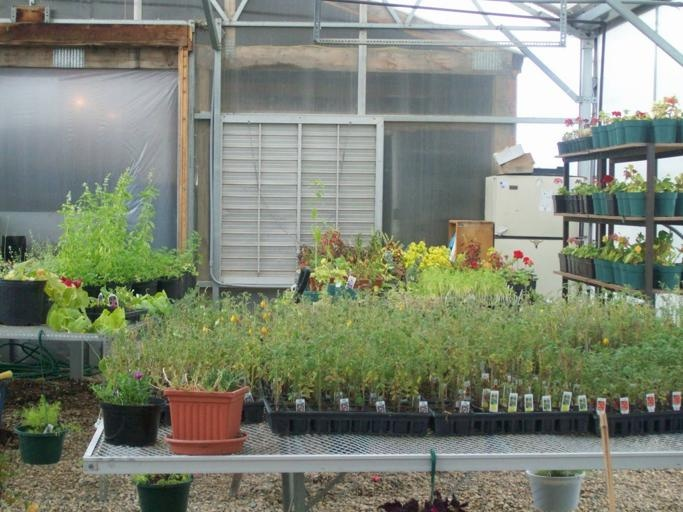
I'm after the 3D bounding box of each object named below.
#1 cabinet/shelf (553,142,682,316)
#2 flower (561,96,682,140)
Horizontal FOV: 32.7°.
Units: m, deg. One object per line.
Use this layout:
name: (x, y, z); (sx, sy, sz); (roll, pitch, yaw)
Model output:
cabinet/shelf: (2.886, -0.279, 12.066); (0.544, 1.587, 1.655); (0, 2, -6)
flower: (2.905, -1.425, 12.384); (1.428, 0.487, 0.417); (1, 24, 39)
